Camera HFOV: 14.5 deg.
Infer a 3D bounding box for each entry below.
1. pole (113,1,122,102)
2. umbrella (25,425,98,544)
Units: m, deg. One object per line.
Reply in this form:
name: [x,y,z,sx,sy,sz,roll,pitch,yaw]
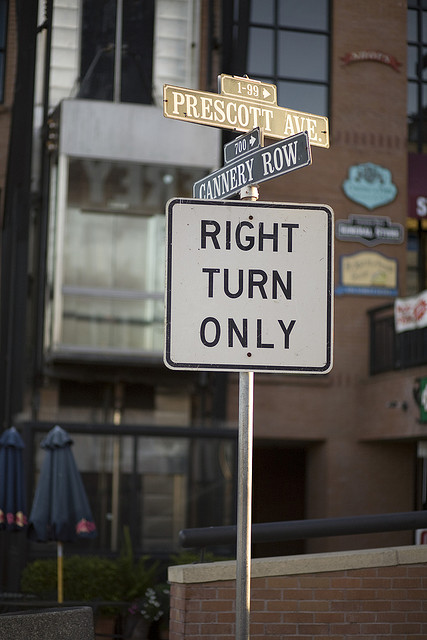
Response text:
pole: [-1.059,-2.946,18.458,0.089,1.147,0.145,0,-6,-1]
umbrella: [-1.490,1.616,16.506,0.624,1.112,0.315,1,-6,-7]
